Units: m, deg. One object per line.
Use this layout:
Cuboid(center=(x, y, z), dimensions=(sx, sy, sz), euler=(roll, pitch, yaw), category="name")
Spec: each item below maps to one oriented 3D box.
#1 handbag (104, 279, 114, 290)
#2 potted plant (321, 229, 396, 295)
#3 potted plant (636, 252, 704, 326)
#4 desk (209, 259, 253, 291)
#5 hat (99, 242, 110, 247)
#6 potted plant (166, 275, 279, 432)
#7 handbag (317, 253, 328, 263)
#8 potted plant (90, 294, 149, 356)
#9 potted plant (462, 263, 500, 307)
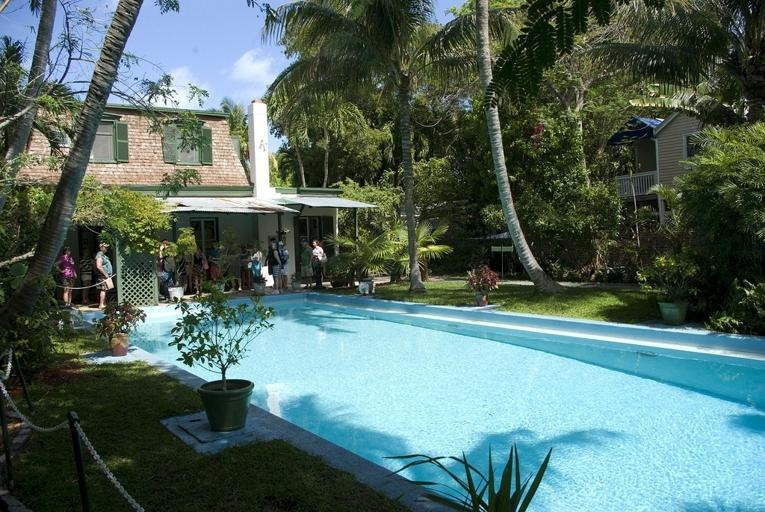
Cuboid(center=(-9.019, 0.934, 18.586), dimensions=(0.366, 0.359, 0.085), euler=(3, 6, -11), category="handbag")
Cuboid(center=(-1.129, 0.119, 22.654), dimensions=(1.957, 2.432, 3.609), euler=(-5, 11, -34), category="potted plant")
Cuboid(center=(7.501, 0.932, 14.331), dimensions=(1.293, 1.809, 1.585), euler=(19, -12, -19), category="potted plant")
Cuboid(center=(-6.447, 0.582, 22.942), dimensions=(1.637, 1.600, 0.906), euler=(-5, -7, 5), category="desk")
Cuboid(center=(-9.212, -0.349, 18.633), dimensions=(0.257, 0.149, 0.362), euler=(3, 1, 34), category="hat")
Cuboid(center=(-3.379, 2.081, 11.811), dimensions=(2.366, 2.915, 2.192), euler=(-1, -2, -16), category="potted plant")
Cuboid(center=(-2.562, 0.104, 23.647), dimensions=(0.265, 0.390, 0.382), euler=(-3, -7, 14), category="handbag")
Cuboid(center=(-6.194, 1.713, 13.139), dimensions=(1.195, 1.129, 0.839), euler=(-2, -7, -43), category="potted plant")
Cuboid(center=(3.199, 0.956, 17.917), dimensions=(0.897, 1.307, 1.008), euler=(7, -9, -20), category="potted plant")
